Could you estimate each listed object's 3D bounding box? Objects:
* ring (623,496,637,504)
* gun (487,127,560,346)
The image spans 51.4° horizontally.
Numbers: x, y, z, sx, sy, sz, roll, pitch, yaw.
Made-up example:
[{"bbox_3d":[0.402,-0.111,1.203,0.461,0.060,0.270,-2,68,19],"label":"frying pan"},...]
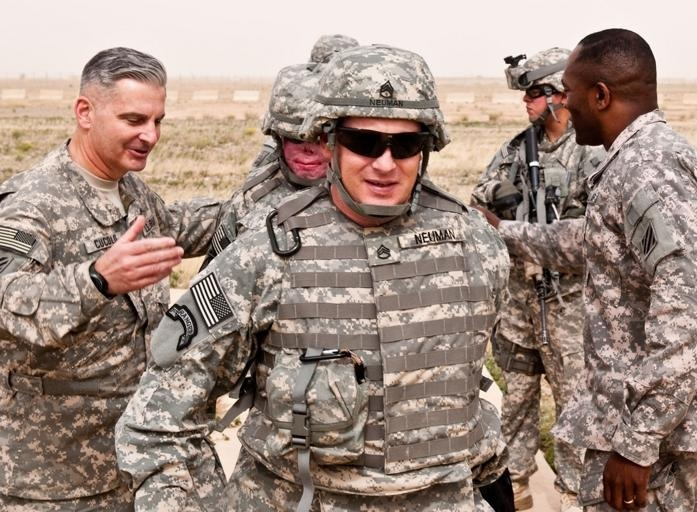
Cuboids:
[{"bbox_3d":[1.437,1.246,3.701,0.042,0.025,0.031,6,-4,9],"label":"ring"},{"bbox_3d":[1.394,-0.199,6.087,0.444,1.889,0.761,1,0,1],"label":"gun"}]
